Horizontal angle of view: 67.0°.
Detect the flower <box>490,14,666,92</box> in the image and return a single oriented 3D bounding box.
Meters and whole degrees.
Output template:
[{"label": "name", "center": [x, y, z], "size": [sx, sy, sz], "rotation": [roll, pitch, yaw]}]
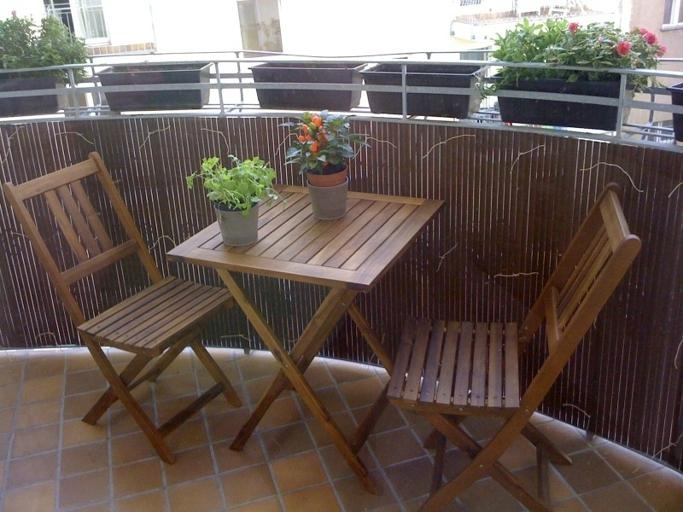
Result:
[{"label": "flower", "center": [1.077, -0.950, 2.402], "size": [0.728, 0.296, 0.348], "rotation": [11, 28, 28]}]
